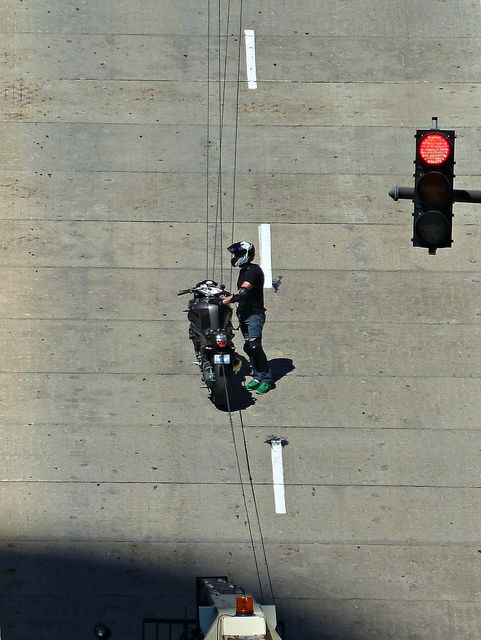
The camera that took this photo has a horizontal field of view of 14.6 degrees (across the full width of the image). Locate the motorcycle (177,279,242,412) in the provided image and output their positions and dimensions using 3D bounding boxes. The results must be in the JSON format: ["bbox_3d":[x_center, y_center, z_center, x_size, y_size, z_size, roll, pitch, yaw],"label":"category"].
[{"bbox_3d":[-0.383,0.285,24.402,0.706,1.035,1.787,1,44,-7],"label":"motorcycle"}]

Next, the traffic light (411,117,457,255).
[{"bbox_3d":[2.051,-1.393,19.908,0.422,1.467,0.514,2,16,5],"label":"traffic light"}]
